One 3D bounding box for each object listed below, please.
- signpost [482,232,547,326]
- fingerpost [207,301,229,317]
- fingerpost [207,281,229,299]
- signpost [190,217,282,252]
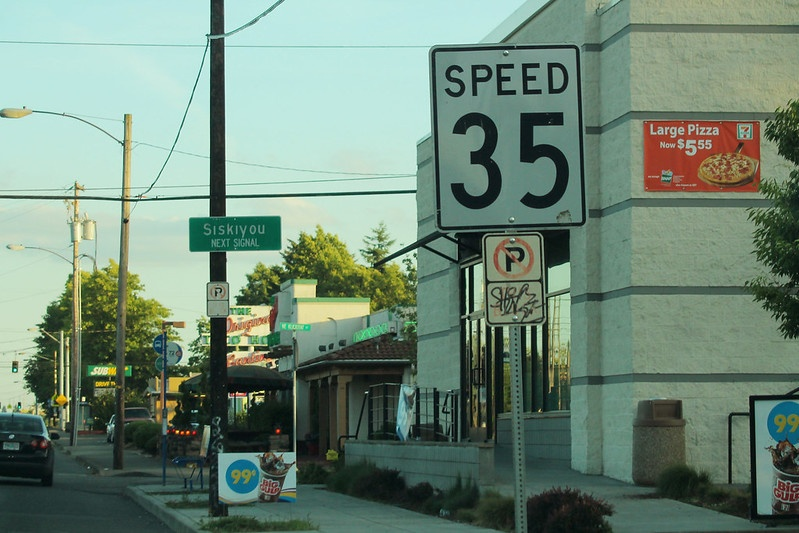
[{"bbox_3d":[2.075,0.264,26.568,1.406,2.558,0.263,-1,-1,4],"label":"signpost"},{"bbox_3d":[-4.202,1.001,34.190,0.609,0.508,0.361,0,2,-4],"label":"fingerpost"},{"bbox_3d":[-4.148,0.566,33.594,0.339,0.335,0.119,1,-3,-15],"label":"fingerpost"},{"bbox_3d":[-3.823,-0.754,34.395,2.136,0.949,0.079,-1,30,-8],"label":"signpost"}]
